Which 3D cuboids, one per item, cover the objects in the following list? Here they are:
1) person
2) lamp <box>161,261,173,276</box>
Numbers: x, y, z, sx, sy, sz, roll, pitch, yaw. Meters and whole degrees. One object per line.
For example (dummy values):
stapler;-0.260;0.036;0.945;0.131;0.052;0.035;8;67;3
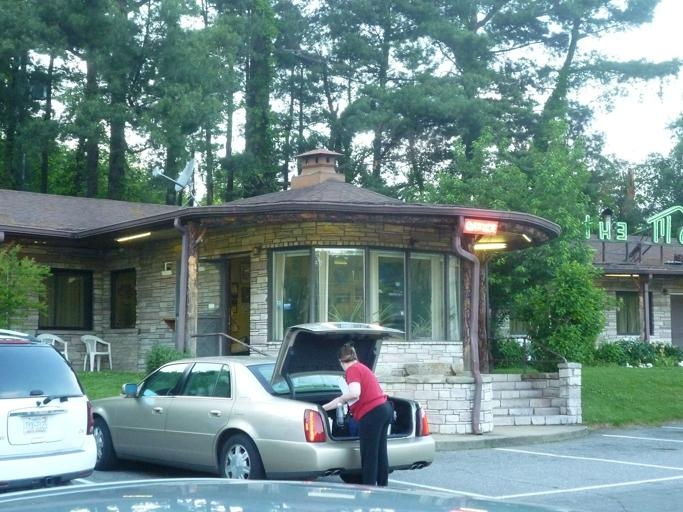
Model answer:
person;0.334;2.336;13.781;0.847;2.111;0.612;-1;-6;3
lamp;-4.723;0.317;24.865;0.332;0.352;0.079;0;-8;36
